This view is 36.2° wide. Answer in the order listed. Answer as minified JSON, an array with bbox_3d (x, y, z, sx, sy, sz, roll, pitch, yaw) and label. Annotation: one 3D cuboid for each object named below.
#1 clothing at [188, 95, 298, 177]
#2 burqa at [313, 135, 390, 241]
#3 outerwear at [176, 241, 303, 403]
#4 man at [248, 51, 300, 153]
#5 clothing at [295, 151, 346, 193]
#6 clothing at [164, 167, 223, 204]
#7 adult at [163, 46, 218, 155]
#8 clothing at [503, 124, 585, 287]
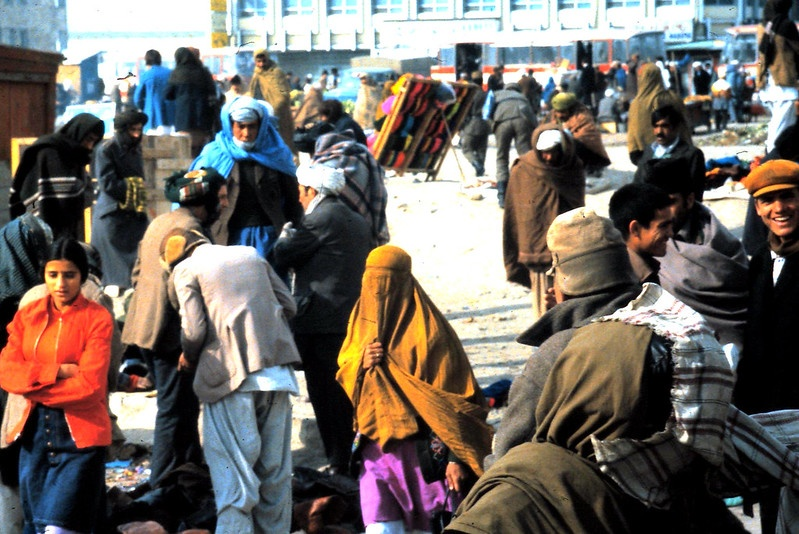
[{"bbox_3d":[-1.349,-1.068,10.429,0.866,0.838,0.474,-4,10,-12],"label":"clothing"},{"bbox_3d":[-0.481,-0.773,10.887,0.274,0.743,0.817,-8,32,-44],"label":"burqa"},{"bbox_3d":[-1.146,0.331,8.541,0.819,1.084,0.744,-17,8,-32],"label":"outerwear"},{"bbox_3d":[-1.784,-2.264,16.548,0.616,1.645,0.623,-2,36,-3],"label":"man"},{"bbox_3d":[-0.643,-0.679,9.753,0.401,0.255,0.525,11,-13,-2],"label":"clothing"},{"bbox_3d":[-1.487,-0.638,9.035,0.467,0.220,0.583,2,-3,16],"label":"clothing"},{"bbox_3d":[-2.456,-1.917,14.379,0.522,1.502,0.430,-18,34,-35],"label":"adult"},{"bbox_3d":[1.363,-0.447,11.452,0.767,1.928,0.586,-5,20,-2],"label":"clothing"}]
